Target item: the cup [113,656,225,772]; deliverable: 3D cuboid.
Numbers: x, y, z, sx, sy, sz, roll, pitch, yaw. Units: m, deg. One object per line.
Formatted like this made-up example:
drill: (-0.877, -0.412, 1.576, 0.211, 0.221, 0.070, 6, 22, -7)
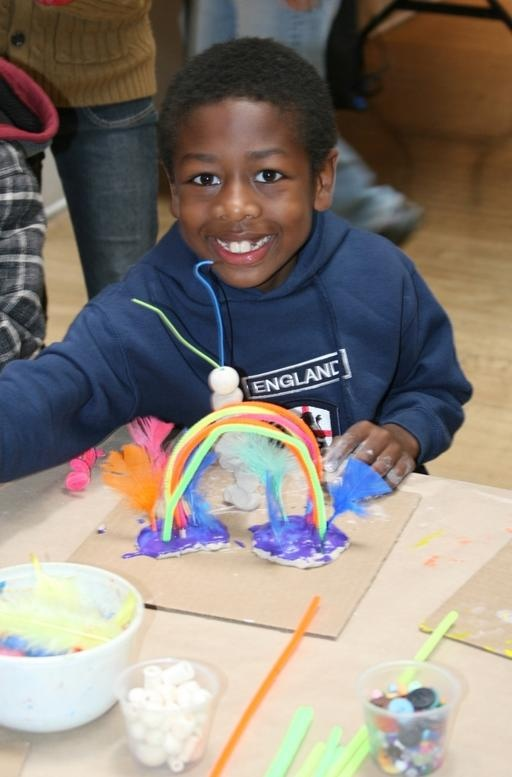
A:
cup: (-0.047, 0.200, 0.426, 0.052, 0.052, 0.064, 5, 16, 25)
